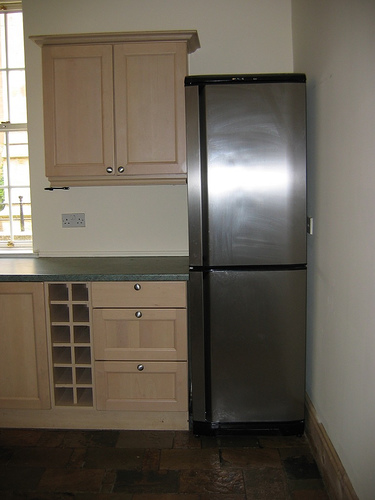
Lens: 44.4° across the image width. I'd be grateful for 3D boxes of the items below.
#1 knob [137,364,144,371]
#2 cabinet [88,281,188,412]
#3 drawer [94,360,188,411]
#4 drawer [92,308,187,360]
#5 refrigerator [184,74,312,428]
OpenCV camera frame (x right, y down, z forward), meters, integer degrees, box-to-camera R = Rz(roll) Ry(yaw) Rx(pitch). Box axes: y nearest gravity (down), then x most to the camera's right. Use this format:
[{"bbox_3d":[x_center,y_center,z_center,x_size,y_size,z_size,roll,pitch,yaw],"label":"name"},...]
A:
[{"bbox_3d":[-0.223,0.554,2.179,0.024,0.023,0.024,5,13,11],"label":"knob"},{"bbox_3d":[-0.170,0.473,2.405,0.576,0.702,0.562,-2,-4,0],"label":"cabinet"},{"bbox_3d":[-0.189,0.665,2.357,0.471,0.226,0.348,-3,-5,15],"label":"drawer"},{"bbox_3d":[-0.280,0.439,2.318,0.462,0.262,0.327,4,-18,-23],"label":"drawer"},{"bbox_3d":[0.282,0.039,2.073,0.545,1.575,0.193,0,10,7],"label":"refrigerator"}]
